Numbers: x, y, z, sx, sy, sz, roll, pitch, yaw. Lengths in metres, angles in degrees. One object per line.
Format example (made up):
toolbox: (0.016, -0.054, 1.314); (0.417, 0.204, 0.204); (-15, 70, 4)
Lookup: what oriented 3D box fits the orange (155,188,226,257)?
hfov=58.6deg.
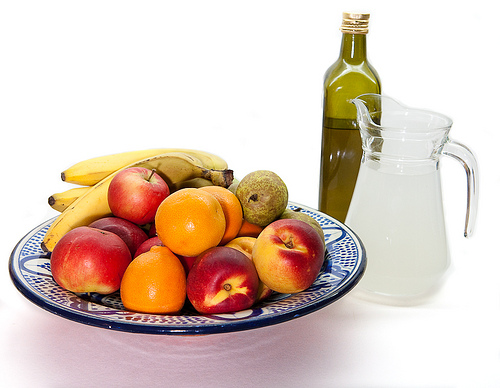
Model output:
orange: (-0.161, 0.076, 1.289); (0.192, 0.171, 0.177); (1, 2, 5)

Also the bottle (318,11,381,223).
bottle: (0.383, -0.273, 1.730); (0.228, 0.814, 0.285); (4, 20, 14)

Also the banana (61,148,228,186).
banana: (-0.352, -0.080, 1.545); (0.491, 0.133, 0.122); (-7, -7, -12)

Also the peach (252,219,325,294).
peach: (0.104, 0.175, 1.237); (0.166, 0.171, 0.159); (11, 22, 32)

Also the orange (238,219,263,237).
orange: (-0.006, 0.107, 1.428); (0.069, 0.055, 0.059); (-14, -2, 28)

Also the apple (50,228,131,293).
apple: (-0.444, 0.192, 1.305); (0.202, 0.149, 0.187); (9, -4, 4)

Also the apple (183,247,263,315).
apple: (-0.072, 0.287, 1.240); (0.212, 0.208, 0.209); (11, -24, 8)

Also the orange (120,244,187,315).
orange: (-0.258, 0.250, 1.201); (0.163, 0.182, 0.128); (-12, 22, -28)

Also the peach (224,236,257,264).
peach: (-0.030, 0.161, 1.300); (0.066, 0.062, 0.063); (-13, 5, -6)

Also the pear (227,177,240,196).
pear: (-0.059, -0.026, 1.608); (0.030, 0.058, 0.024); (16, -8, -8)
